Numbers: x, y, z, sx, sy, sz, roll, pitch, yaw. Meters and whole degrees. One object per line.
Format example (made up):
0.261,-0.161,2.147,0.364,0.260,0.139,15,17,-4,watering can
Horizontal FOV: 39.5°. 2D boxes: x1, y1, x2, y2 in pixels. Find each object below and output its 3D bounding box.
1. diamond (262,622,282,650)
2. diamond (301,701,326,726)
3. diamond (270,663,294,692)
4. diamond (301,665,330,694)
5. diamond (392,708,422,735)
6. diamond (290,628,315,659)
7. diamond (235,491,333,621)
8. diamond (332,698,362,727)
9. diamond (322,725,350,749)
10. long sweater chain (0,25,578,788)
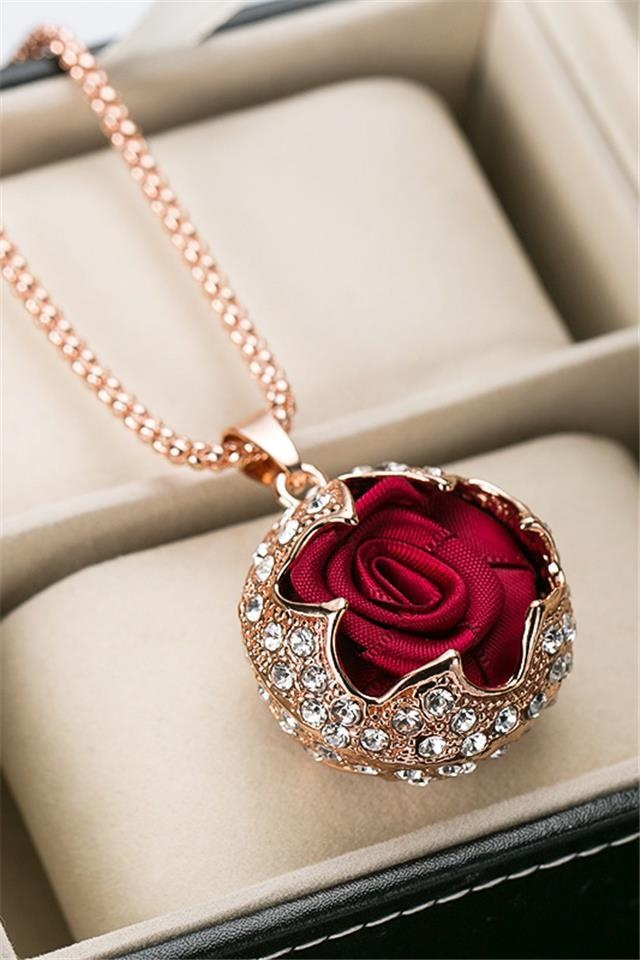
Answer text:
-0.033,0.108,0.613,0.009,0.017,0.018,1,-5,-38,diamond
-0.004,0.156,0.597,0.019,0.017,0.009,-3,10,34,diamond
-0.025,0.133,0.611,0.010,0.018,0.019,-8,2,-43,diamond
-0.003,0.132,0.591,0.020,0.017,0.010,6,40,28,diamond
0.057,0.158,0.581,0.018,0.016,0.009,-3,10,3,diamond
-0.011,0.109,0.597,0.018,0.018,0.005,-10,-2,35,diamond
-0.026,0.047,0.655,0.063,0.015,0.101,-3,61,29,diamond
0.018,0.152,0.584,0.021,0.019,0.007,-4,15,27,diamond
0.011,0.171,0.595,0.018,0.016,0.009,0,17,25,diamond
-0.075,-0.070,0.838,0.278,0.253,0.723,-35,68,-16,long sweater chain
